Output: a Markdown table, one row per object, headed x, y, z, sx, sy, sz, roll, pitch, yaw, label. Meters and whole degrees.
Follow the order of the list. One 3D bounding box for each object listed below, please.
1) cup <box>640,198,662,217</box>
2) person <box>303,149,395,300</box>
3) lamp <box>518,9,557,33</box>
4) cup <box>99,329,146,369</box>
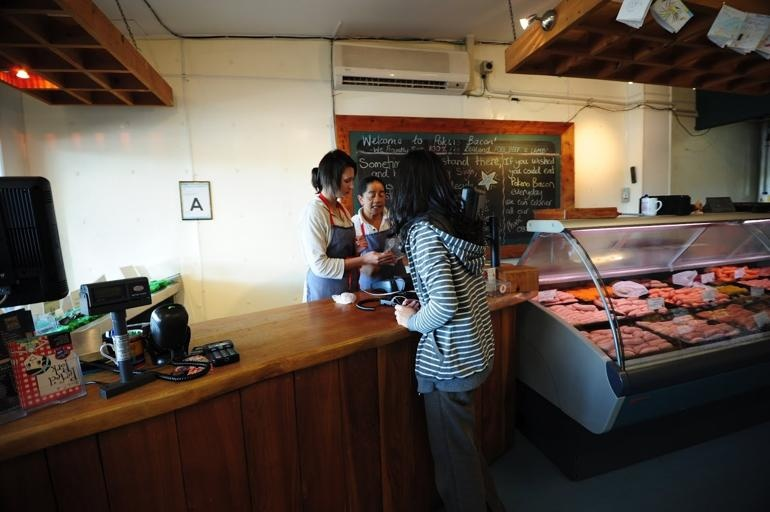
| x | y | z | sx | sy | sz | roll | pitch | yaw | label |
| --- | --- | --- | --- | --- | --- | --- | --- | --- | --- |
| 1.920 | -0.361 | 3.765 | 0.163 | 0.146 | 0.104 | 3 | 5 | 30 | cup |
| -0.356 | -0.225 | 3.876 | 0.610 | 1.101 | 0.376 | -7 | 9 | -9 | person |
| 1.093 | -1.666 | 3.730 | 0.103 | 0.185 | 0.417 | -7 | 9 | -6 | lamp |
| -1.404 | 0.496 | 2.799 | 0.251 | 0.210 | 0.158 | 1 | 6 | -11 | cup |
